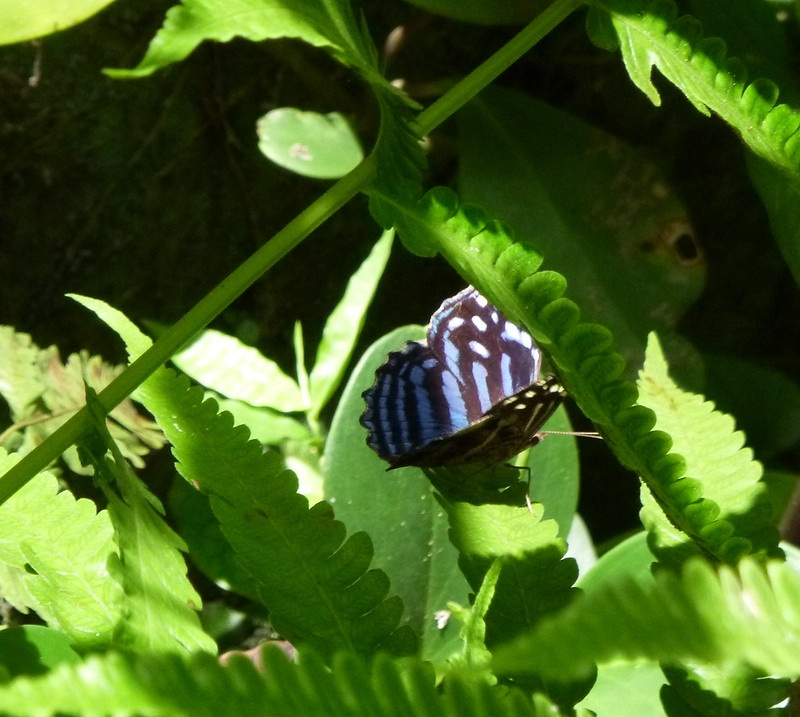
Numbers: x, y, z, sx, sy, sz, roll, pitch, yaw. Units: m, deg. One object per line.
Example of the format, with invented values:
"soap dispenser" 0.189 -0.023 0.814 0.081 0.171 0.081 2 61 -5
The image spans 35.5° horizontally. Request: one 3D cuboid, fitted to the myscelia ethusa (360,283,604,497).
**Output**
"myscelia ethusa" 0.091 0.047 1.270 0.212 0.147 0.276 4 26 -17
